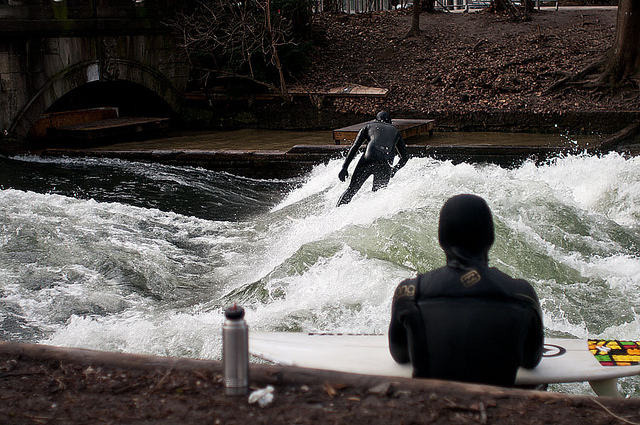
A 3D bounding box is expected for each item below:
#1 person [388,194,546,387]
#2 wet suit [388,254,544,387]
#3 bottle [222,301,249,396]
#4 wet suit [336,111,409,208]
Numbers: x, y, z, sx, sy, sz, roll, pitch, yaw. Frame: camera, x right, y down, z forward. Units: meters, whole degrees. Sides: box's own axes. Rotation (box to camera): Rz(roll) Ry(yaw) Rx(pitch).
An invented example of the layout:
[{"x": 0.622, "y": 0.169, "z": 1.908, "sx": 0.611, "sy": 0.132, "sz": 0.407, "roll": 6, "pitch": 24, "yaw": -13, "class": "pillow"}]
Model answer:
[{"x": 1.496, "y": 0.826, "z": 7.643, "sx": 1.556, "sy": 1.958, "sz": 0.424, "roll": 0, "pitch": 14, "yaw": 5, "class": "person"}, {"x": 1.560, "y": 1.132, "z": 7.926, "sx": 1.689, "sy": 1.595, "sz": 0.932, "roll": 0, "pitch": 15, "yaw": 5, "class": "wet suit"}, {"x": -0.884, "y": 1.448, "z": 7.802, "sx": 0.278, "sy": 0.945, "sz": 0.287, "roll": -1, "pitch": 14, "yaw": 0, "class": "bottle"}, {"x": 1.014, "y": -1.007, "z": 14.155, "sx": 1.262, "sy": 1.782, "sz": 0.572, "roll": -2, "pitch": 14, "yaw": -4, "class": "wet suit"}]
